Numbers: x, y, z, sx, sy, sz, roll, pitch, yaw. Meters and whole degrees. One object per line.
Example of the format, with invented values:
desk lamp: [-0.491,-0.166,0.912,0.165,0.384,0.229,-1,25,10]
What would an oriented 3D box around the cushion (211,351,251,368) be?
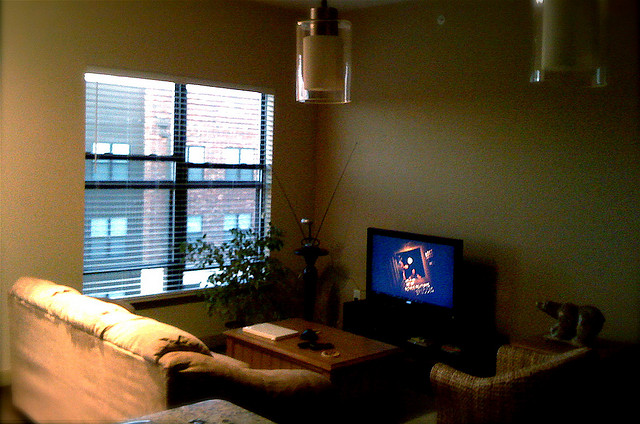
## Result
cushion: [-0.539,0.909,3.049,0.215,0.049,0.194,14,0,21]

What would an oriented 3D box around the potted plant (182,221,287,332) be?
potted plant: [-0.712,0.540,5.313,1.329,1.241,0.960,0,0,-9]

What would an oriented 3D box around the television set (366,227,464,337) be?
television set: [0.887,0.560,4.700,1.046,0.788,0.117,6,8,38]
